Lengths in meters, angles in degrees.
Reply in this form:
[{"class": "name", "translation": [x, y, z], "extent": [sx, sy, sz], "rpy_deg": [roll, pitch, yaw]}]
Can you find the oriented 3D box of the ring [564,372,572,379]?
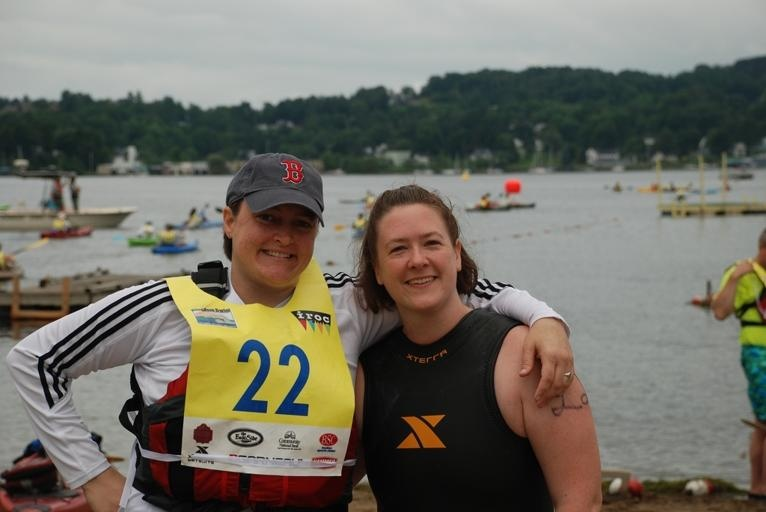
[{"class": "ring", "translation": [2.049, 1.306, 13.056], "extent": [0.093, 0.091, 0.022], "rpy_deg": [-6, 5, -33]}]
